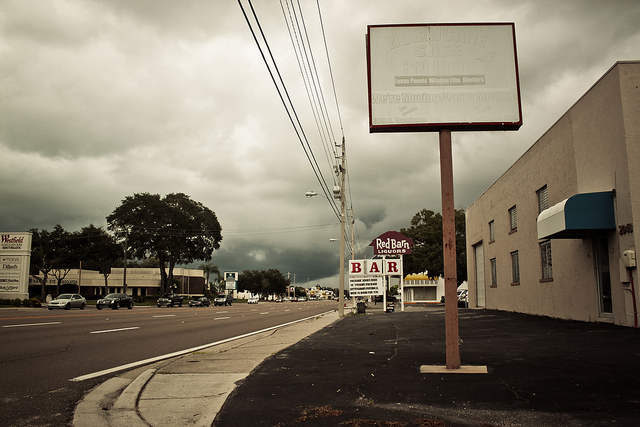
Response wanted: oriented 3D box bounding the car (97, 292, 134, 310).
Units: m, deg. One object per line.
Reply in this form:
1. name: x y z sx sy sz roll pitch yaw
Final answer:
1. car: -18.526 7.861 49.348 1.436 1.217 3.279 -3 -18 8

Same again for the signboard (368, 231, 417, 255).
1. signboard: 5.797 2.377 41.795 2.669 1.670 0.019 0 -16 8

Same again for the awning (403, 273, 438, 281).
1. awning: 15.211 9.992 85.601 3.683 0.820 4.404 -1 -13 7

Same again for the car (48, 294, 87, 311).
1. car: -20.821 7.276 44.860 1.723 1.461 3.964 1 -13 -3

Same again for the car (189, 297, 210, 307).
1. car: -14.487 10.554 65.422 1.036 0.871 2.471 -2 -14 8
